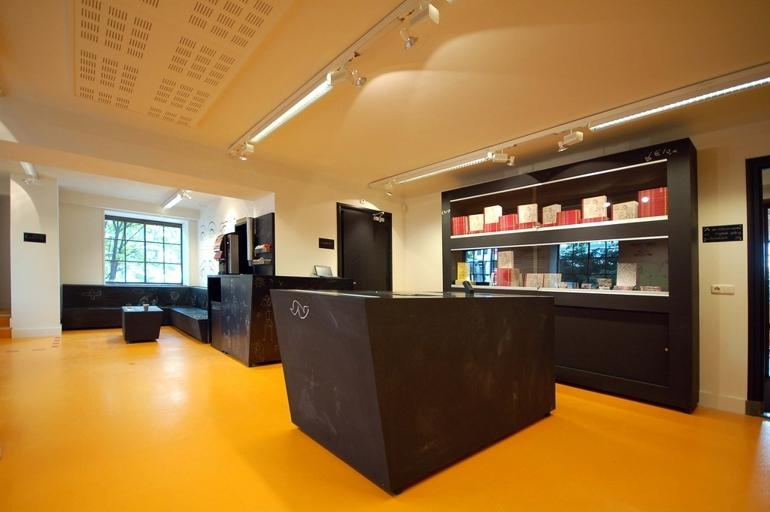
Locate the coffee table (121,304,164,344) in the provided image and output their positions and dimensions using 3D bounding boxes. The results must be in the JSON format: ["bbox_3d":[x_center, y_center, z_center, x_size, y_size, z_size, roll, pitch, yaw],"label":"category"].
[{"bbox_3d":[-4.533,1.286,9.241,0.712,0.592,0.713,6,4,39],"label":"coffee table"}]
